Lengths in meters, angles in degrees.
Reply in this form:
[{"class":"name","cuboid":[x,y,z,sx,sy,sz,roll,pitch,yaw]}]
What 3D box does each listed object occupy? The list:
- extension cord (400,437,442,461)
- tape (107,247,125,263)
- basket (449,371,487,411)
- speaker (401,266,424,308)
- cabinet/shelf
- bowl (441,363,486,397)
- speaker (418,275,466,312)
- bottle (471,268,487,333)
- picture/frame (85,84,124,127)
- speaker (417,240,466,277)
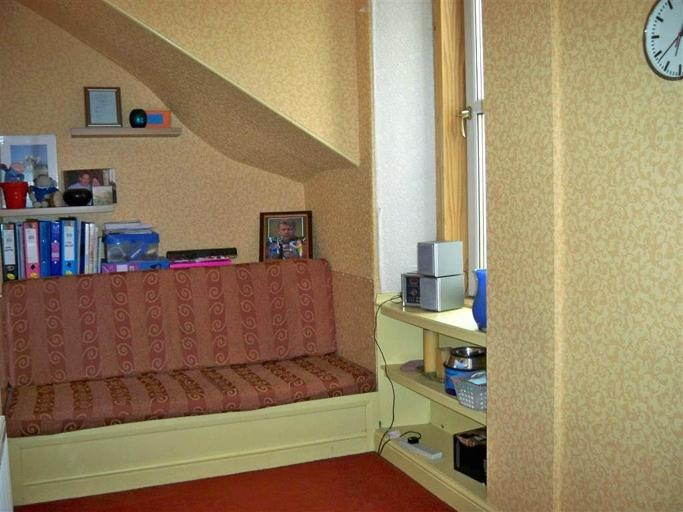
[{"class":"extension cord","cuboid":[0.388,0.948,2.850,0.070,0.035,0.142,-1,5,-36]},{"class":"tape","cuboid":[-1.329,-0.006,3.396,0.085,0.086,0.082,2,0,-38]},{"class":"basket","cuboid":[0.543,0.575,2.470,0.115,0.116,0.154,-1,2,-36]},{"class":"speaker","cuboid":[0.361,0.178,2.987,0.121,0.158,0.127,1,-2,14]},{"class":"cabinet/shelf","cuboid":[0.434,0.712,2.778,0.296,0.810,0.839,-2,4,-31]},{"class":"bowl","cuboid":[0.557,0.552,2.610,0.145,0.112,0.124,0,2,-11]},{"class":"speaker","cuboid":[0.494,0.180,2.917,0.180,0.186,0.174,-6,2,-21]},{"class":"bottle","cuboid":[0.593,0.187,2.495,0.056,0.250,0.183,-1,3,12]},{"class":"picture/frame","cuboid":[-1.428,-0.889,3.445,0.242,0.286,0.022,-3,4,-24]},{"class":"speaker","cuboid":[0.481,0.016,2.885,0.182,0.174,0.180,-5,5,-19]}]
